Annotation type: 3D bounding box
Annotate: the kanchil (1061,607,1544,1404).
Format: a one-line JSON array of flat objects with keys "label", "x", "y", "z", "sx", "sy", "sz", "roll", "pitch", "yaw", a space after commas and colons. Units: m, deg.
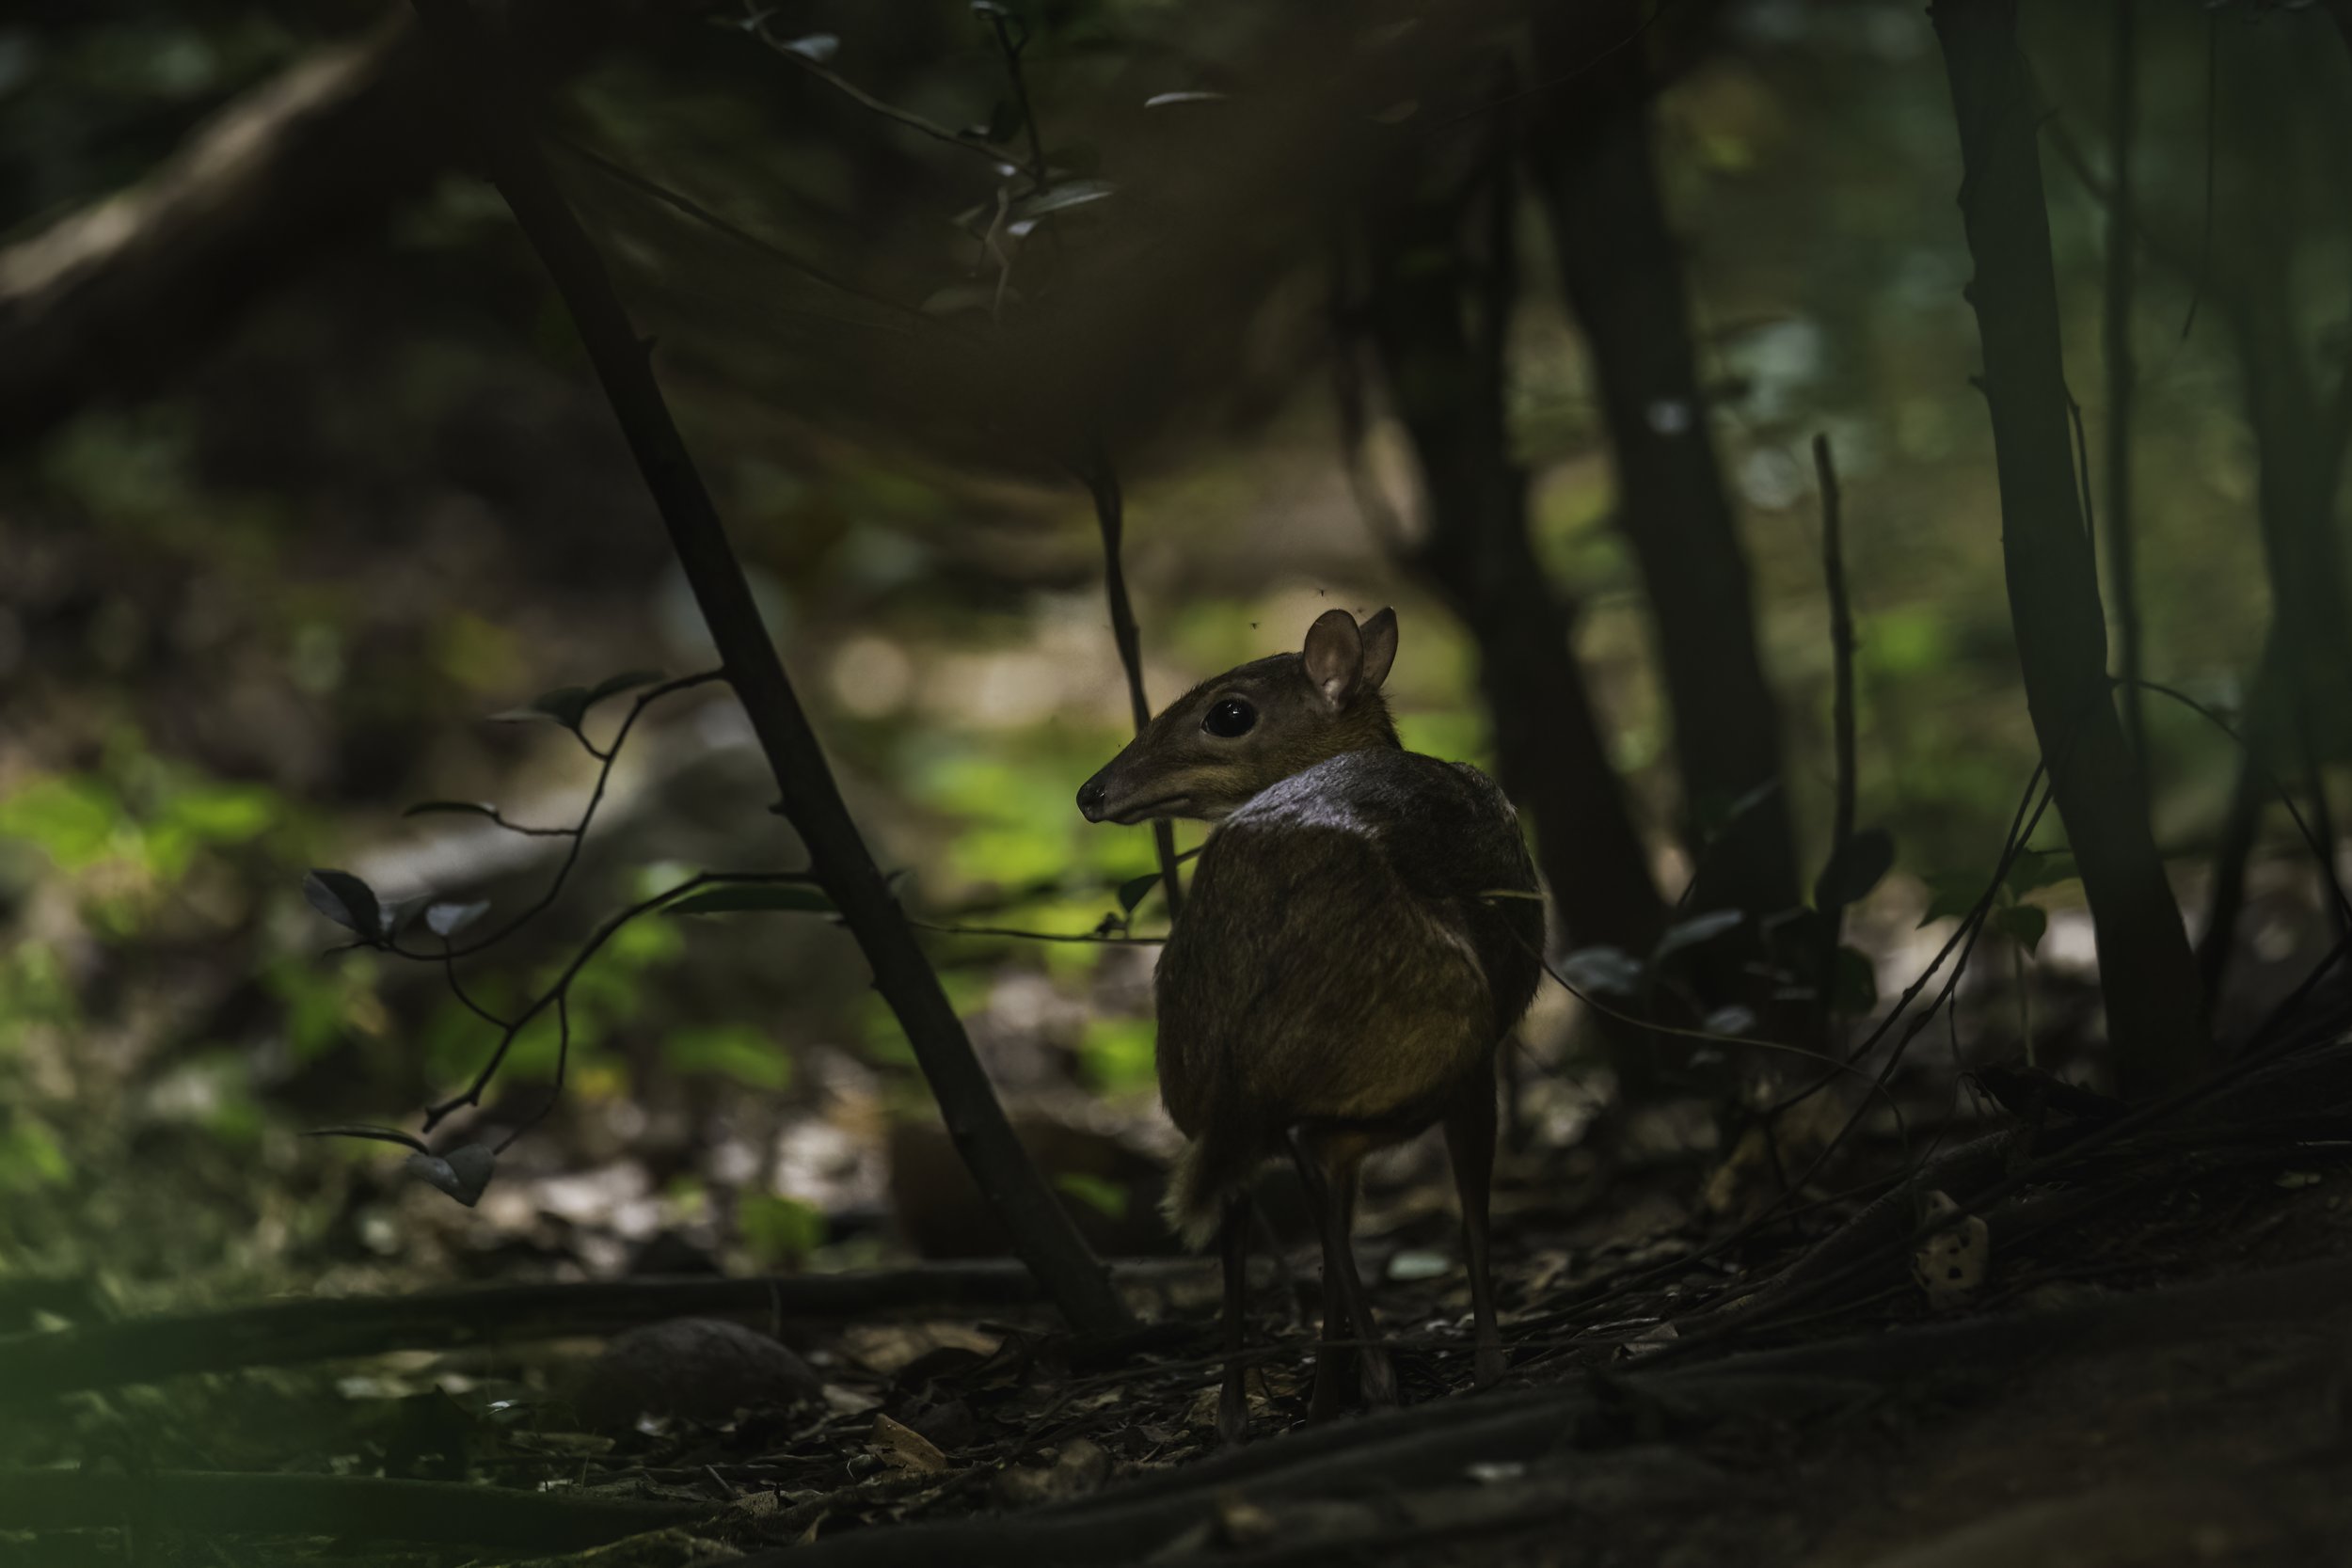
[{"label": "kanchil", "x": 0.286, "y": 0.408, "z": 4.970, "sx": 0.800, "sy": 1.298, "sz": 0.732, "roll": -19, "pitch": -39, "yaw": 12}]
